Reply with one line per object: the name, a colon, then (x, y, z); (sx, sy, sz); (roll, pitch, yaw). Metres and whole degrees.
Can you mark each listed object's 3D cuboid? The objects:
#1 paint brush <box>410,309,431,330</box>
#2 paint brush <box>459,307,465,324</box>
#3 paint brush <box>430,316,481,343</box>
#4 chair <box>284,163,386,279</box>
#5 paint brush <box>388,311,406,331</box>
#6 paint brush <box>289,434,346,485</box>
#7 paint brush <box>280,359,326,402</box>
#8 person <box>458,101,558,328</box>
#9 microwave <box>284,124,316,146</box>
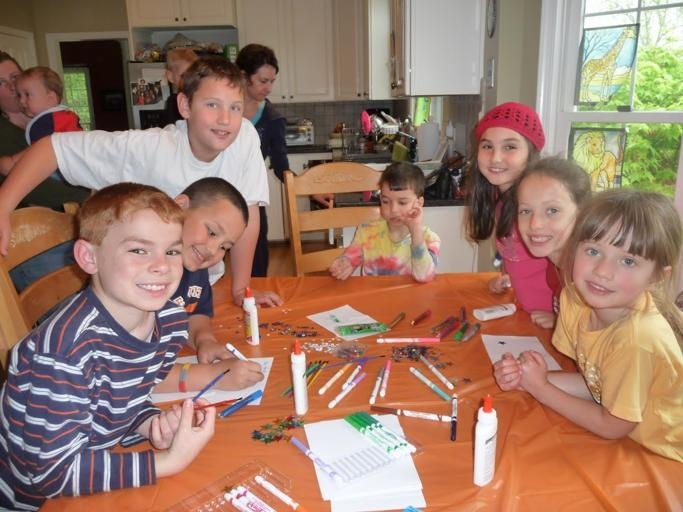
paint brush: (0.288, 0.228, 1.881); (0.029, 0.031, 0.131); (27, 44, 35)
paint brush: (0.443, 0.215, 1.894); (0.014, 0.019, 0.067); (-2, 21, 13)
paint brush: (0.402, 0.255, 1.810); (0.074, 0.023, 0.127); (7, 17, 42)
chair: (-0.120, -0.243, 2.809); (0.476, 0.853, 0.579); (-4, 16, -11)
paint brush: (0.210, 0.232, 1.918); (0.025, 0.020, 0.160); (14, 23, 23)
paint brush: (-0.060, 0.507, 1.270); (0.017, 0.021, 0.145); (-26, 31, -21)
paint brush: (-0.103, 0.373, 1.562); (0.049, 0.029, 0.165); (20, 25, 24)
person: (0.804, -0.191, 2.279); (0.393, 0.994, 0.459); (-27, 36, -27)
microwave: (-0.464, -1.347, 5.712); (0.359, 0.240, 0.221); (0, 21, -2)
